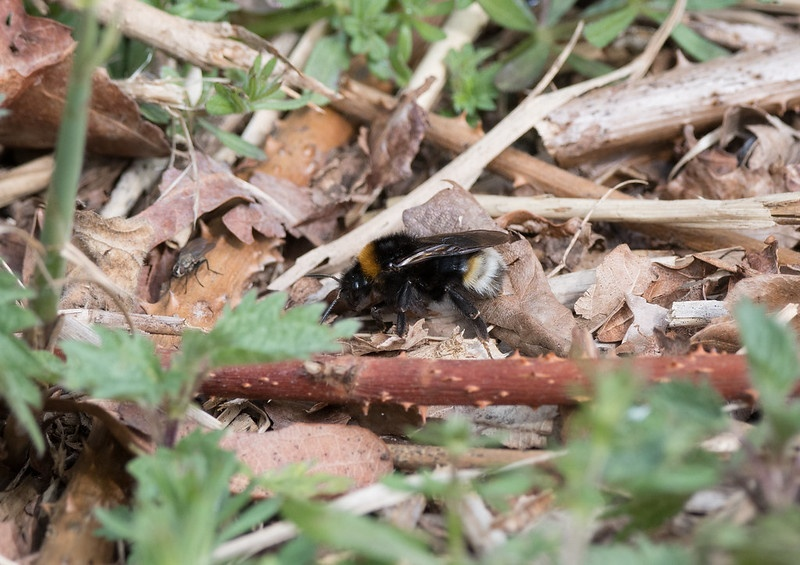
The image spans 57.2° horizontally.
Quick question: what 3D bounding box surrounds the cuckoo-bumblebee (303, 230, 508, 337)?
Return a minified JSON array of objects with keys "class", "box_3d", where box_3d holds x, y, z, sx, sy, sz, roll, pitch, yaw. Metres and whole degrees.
[{"class":"cuckoo-bumblebee","box_3d":[0.060,-0.020,3.869,1.141,0.752,0.366,-13,93,-18]}]
